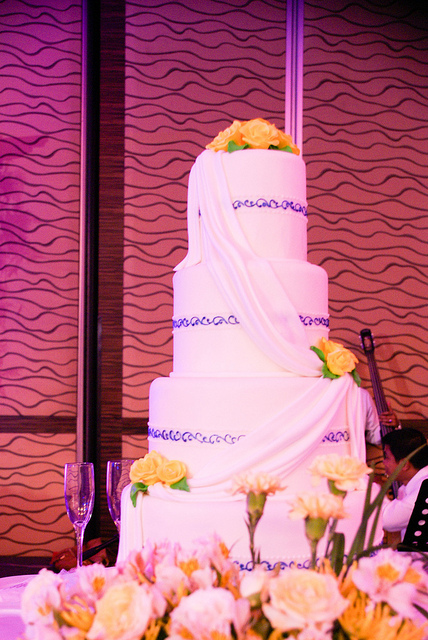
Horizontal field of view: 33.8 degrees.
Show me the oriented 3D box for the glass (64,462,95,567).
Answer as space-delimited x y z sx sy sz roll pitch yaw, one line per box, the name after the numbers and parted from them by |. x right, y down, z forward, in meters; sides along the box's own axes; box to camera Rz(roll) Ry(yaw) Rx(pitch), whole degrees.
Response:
-0.363 0.514 1.880 0.062 0.269 0.112 -6 6 -19 | glass

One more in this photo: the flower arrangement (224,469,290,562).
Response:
0.069 0.303 1.061 0.100 0.132 0.094 2 -19 4 | flower arrangement

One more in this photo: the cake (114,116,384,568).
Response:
0.122 0.038 1.959 0.638 1.150 0.725 4 17 9 | cake
